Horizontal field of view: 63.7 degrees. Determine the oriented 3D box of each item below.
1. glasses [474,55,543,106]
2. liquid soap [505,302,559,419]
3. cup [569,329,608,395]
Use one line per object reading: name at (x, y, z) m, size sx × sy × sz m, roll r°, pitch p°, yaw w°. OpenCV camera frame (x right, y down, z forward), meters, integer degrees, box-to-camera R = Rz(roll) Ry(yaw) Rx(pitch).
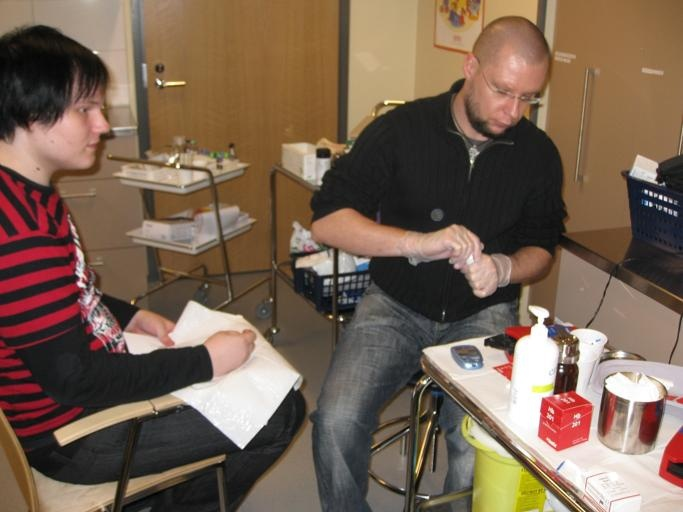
glasses at (0.548, -0.584, 1.834) m, size 0.219 × 0.146 × 0.125 m, roll 7°, pitch 17°, yaw 13°
liquid soap at (0.441, 0.252, 1.247) m, size 0.089 × 0.262 × 0.093 m, roll 11°, pitch 18°, yaw 28°
cup at (0.597, 0.242, 1.352) m, size 0.081 × 0.125 × 0.081 m, roll -3°, pitch 35°, yaw 2°
